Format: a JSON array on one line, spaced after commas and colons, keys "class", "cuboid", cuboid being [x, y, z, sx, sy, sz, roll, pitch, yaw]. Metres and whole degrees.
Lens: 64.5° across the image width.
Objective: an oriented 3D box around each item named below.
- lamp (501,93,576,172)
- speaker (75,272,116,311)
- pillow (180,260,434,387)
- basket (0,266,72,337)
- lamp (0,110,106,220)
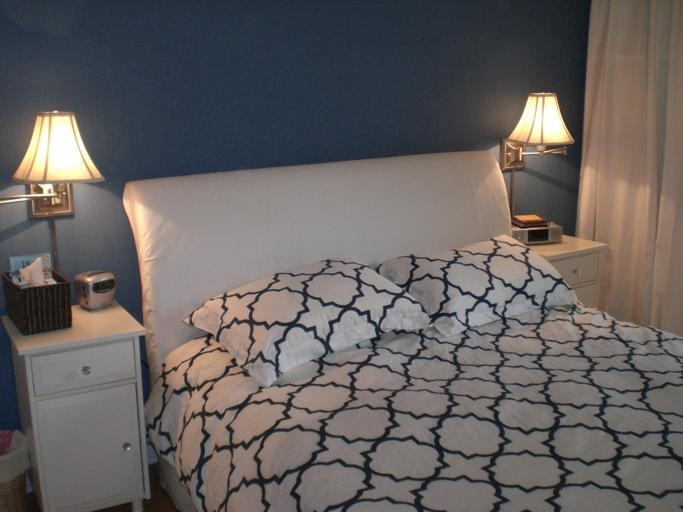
[{"class": "lamp", "cuboid": [1.222, -0.757, 3.384, 0.348, 0.521, 0.397, -16, 25, -26]}, {"class": "speaker", "cuboid": [-1.157, 0.144, 2.544, 0.187, 0.181, 0.151, 21, 23, 37]}, {"class": "pillow", "cuboid": [-0.088, 0.230, 2.338, 0.673, 0.202, 0.548, -14, 28, -28]}, {"class": "basket", "cuboid": [-1.321, 0.174, 2.354, 0.208, 0.212, 0.300, -6, 14, -34]}, {"class": "lamp", "cuboid": [-1.195, -0.412, 2.489, 0.456, 0.577, 0.429, 8, 14, 31]}]
